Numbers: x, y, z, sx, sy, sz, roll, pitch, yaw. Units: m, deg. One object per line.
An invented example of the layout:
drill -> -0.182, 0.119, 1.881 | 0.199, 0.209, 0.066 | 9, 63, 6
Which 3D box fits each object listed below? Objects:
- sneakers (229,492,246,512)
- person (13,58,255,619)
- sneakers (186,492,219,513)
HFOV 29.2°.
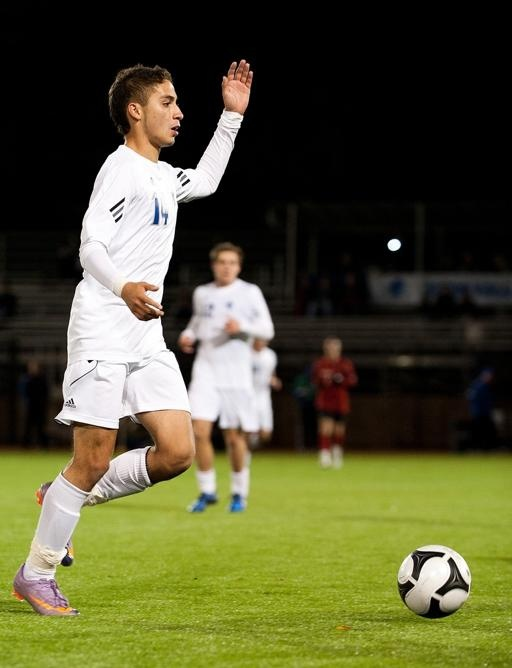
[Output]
sneakers -> -0.141, 1.245, 7.270 | 0.103, 0.142, 0.149 | 1, -19, -2
person -> -0.492, -0.013, 3.983 | 0.629, 2.212, 0.975 | 0, -3, 21
sneakers -> -0.430, 1.305, 7.723 | 0.094, 0.106, 0.274 | -1, 3, 35
